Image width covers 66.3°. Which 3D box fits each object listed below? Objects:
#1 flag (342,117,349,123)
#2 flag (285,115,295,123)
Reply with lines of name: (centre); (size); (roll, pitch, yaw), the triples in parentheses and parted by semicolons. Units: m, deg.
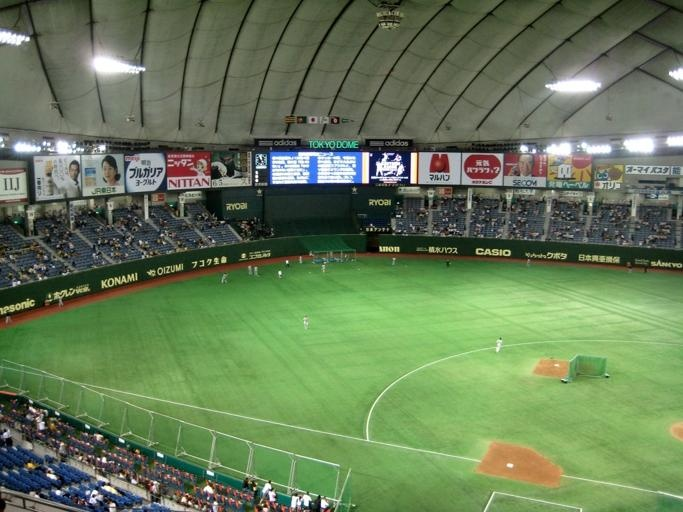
flag: (0.646, -20.822, 80.034); (1.031, 0.523, 2.171); (-1, 5, 1)
flag: (-7.337, -19.831, 75.404); (1.428, 1.366, 3.785); (-3, 6, -6)
